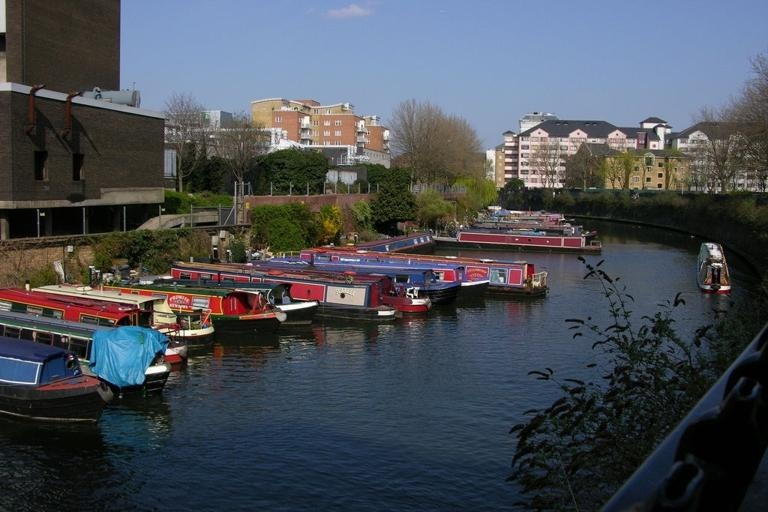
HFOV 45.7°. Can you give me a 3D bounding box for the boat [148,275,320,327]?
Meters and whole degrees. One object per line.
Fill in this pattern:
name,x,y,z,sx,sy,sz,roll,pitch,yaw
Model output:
boat,-10.496,2.641,49.256,13.683,3.005,2.999,3,1,18
